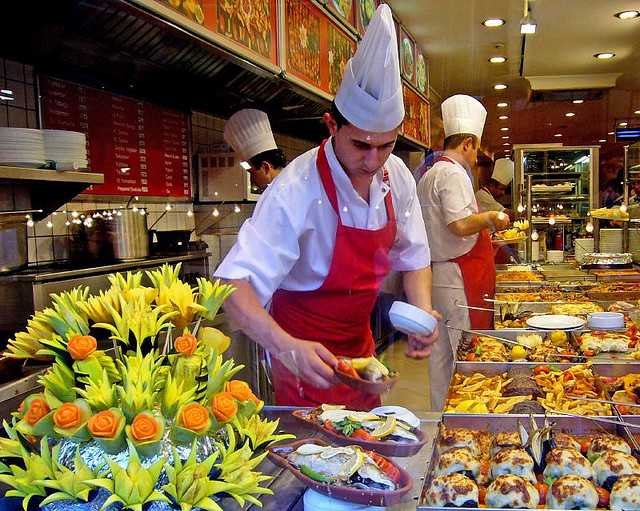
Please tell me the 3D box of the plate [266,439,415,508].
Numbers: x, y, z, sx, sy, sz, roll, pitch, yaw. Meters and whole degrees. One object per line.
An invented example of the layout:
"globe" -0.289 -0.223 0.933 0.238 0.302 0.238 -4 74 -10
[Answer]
"plate" 0.027 0.388 0.907 0.186 0.028 0.140 4 5 39

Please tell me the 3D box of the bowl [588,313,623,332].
"bowl" 1.542 0.353 2.489 0.107 0.044 0.123 -1 2 24

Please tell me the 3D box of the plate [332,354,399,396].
"plate" 0.104 0.295 1.170 0.136 0.054 0.147 13 9 -1

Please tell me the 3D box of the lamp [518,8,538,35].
"lamp" 1.242 -1.375 2.735 0.079 0.140 0.053 -1 8 -11

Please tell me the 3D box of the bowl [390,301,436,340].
"bowl" 0.259 0.185 1.283 0.102 0.052 0.102 19 -17 6

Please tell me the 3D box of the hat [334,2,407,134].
"hat" 0.142 -0.555 1.417 0.223 0.357 0.215 -1 3 9

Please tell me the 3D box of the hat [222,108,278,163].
"hat" -0.387 -0.689 2.796 0.269 0.238 0.308 -33 -32 0

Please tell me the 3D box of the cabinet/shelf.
"cabinet/shelf" 1.676 -0.360 3.335 0.374 0.217 0.277 11 26 21

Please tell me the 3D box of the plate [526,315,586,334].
"plate" 1.342 0.385 2.657 0.341 0.049 0.320 -3 3 -23

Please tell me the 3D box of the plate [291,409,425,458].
"plate" 0.085 0.377 1.048 0.210 0.045 0.131 7 7 25

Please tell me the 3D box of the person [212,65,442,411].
"person" 0.042 -0.049 1.609 0.518 0.888 0.834 0 3 30

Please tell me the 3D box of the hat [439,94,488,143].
"hat" 0.901 -0.834 2.989 0.346 0.273 0.306 7 -18 0

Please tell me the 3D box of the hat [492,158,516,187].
"hat" 1.259 -0.575 3.174 0.140 0.165 0.136 -3 -23 13
